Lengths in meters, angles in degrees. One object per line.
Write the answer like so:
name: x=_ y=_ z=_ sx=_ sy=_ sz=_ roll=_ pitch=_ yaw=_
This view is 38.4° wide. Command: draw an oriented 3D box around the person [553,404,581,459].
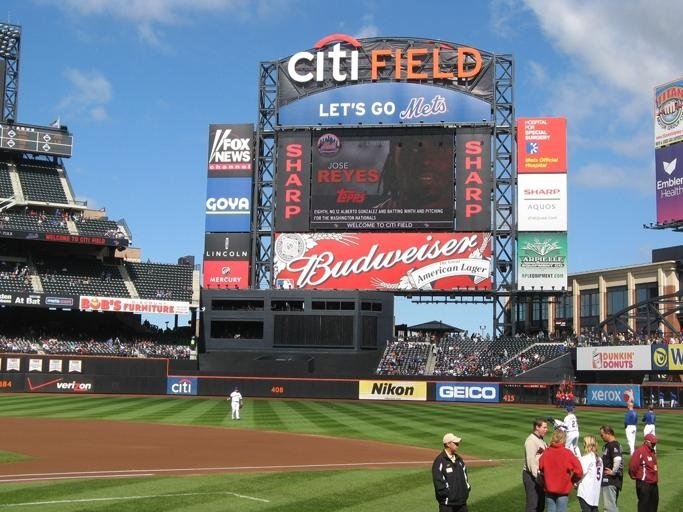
person: x=10.250 y=8.050 z=44.881 sx=1.365 sy=2.356 sz=1.114 roll=1 pitch=5 yaw=26

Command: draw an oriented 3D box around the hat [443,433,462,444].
hat: x=4.126 y=6.766 z=36.665 sx=0.730 sy=0.349 sz=0.508 roll=-3 pitch=-3 yaw=3
